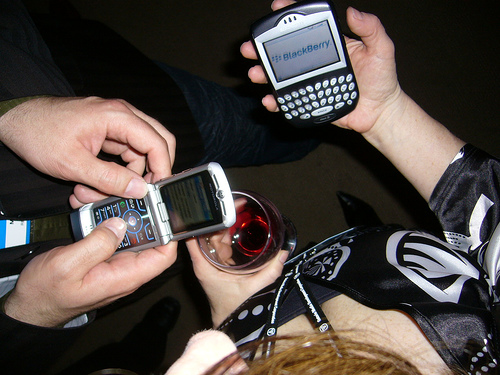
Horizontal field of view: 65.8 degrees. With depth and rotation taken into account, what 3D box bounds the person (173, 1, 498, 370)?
[{"bbox_3d":[0.223,-0.109,0.956,0.680,0.364,0.940,-24,41,22],"label":"person"}]
